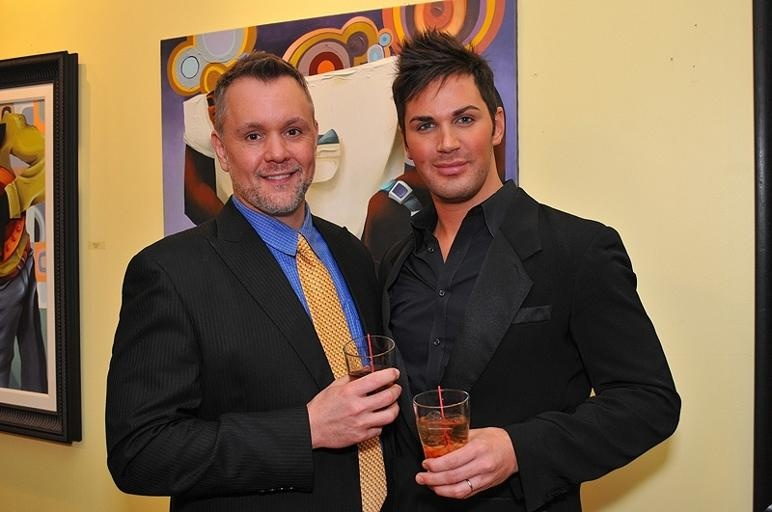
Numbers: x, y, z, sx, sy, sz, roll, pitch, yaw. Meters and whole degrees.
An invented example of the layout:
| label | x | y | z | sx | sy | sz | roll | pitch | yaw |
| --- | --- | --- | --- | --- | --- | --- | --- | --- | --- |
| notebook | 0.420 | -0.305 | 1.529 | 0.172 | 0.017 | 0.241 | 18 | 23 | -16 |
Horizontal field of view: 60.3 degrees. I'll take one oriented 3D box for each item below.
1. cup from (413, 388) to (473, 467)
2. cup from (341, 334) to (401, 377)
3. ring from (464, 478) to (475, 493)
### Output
| label | x | y | z | sx | sy | sz | roll | pitch | yaw |
| --- | --- | --- | --- | --- | --- | --- | --- | --- | --- |
| cup | 0.224 | 0.638 | 2.594 | 0.242 | 0.289 | 0.259 | -3 | 8 | 0 |
| cup | -0.070 | 0.405 | 2.705 | 0.187 | 0.147 | 0.163 | -4 | 3 | -6 |
| ring | 0.327 | 0.899 | 2.593 | 0.018 | 0.049 | 0.036 | -24 | 12 | -19 |
